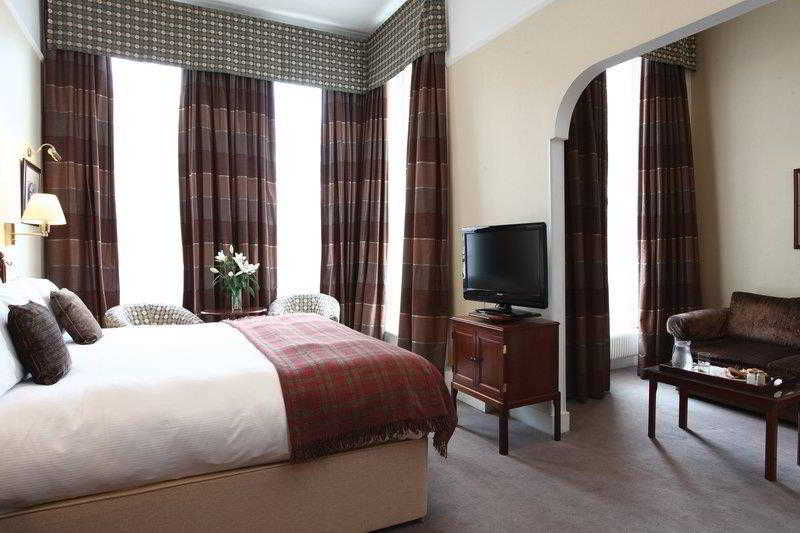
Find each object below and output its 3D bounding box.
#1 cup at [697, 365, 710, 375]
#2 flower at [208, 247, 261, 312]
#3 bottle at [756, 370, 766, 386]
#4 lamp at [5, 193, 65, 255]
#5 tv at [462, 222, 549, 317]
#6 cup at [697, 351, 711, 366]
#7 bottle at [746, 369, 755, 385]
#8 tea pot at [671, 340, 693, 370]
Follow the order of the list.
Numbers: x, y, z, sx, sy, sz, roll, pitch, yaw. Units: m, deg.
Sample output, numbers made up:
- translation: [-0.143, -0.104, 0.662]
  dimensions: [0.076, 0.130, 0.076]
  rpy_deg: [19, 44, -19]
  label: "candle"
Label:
- translation: [2.654, 0.908, 4.854]
  dimensions: [0.080, 0.085, 0.074]
  rpy_deg: [0, 1, 0]
  label: "cup"
- translation: [-2.046, 0.148, 6.744]
  dimensions: [0.738, 0.768, 0.584]
  rpy_deg: [-5, -1, -13]
  label: "flower"
- translation: [2.976, 0.927, 4.568]
  dimensions: [0.060, 0.093, 0.103]
  rpy_deg: [10, 17, 37]
  label: "bottle"
- translation: [-3.466, -0.441, 5.309]
  dimensions: [0.632, 0.604, 0.488]
  rpy_deg: [-1, -1, 9]
  label: "lamp"
- translation: [1.016, 0.024, 5.232]
  dimensions: [0.298, 0.740, 0.915]
  rpy_deg: [-5, 3, -37]
  label: "tv"
- translation: [2.723, 0.827, 4.974]
  dimensions: [0.131, 0.133, 0.103]
  rpy_deg: [6, -11, -29]
  label: "cup"
- translation: [2.916, 0.919, 4.596]
  dimensions: [0.074, 0.088, 0.106]
  rpy_deg: [6, 15, 27]
  label: "bottle"
- translation: [2.549, 0.815, 5.095]
  dimensions: [0.235, 0.301, 0.219]
  rpy_deg: [0, -3, 0]
  label: "tea pot"
